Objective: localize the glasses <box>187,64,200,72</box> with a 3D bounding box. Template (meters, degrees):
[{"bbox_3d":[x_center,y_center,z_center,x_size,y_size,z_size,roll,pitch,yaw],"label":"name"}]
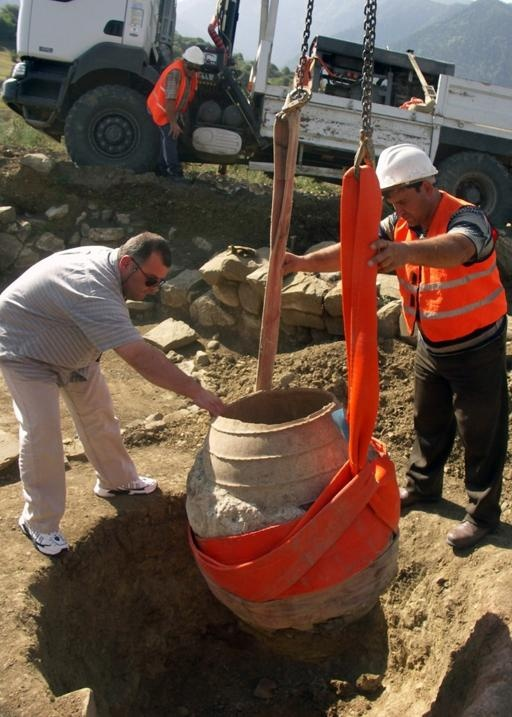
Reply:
[{"bbox_3d":[-0.645,-2.990,6.868,0.081,0.025,0.078,13,-14,-36],"label":"glasses"}]

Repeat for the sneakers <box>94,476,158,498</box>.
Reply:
[{"bbox_3d":[-0.742,0.724,3.886,0.365,0.141,0.123,-7,14,-13],"label":"sneakers"}]

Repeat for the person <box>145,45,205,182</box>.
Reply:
[{"bbox_3d":[-0.874,-2.616,7.065,0.564,1.349,0.813,4,16,-10],"label":"person"}]

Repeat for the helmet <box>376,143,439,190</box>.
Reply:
[{"bbox_3d":[0.676,-0.915,3.098,0.310,0.134,0.225,-14,29,-10],"label":"helmet"}]

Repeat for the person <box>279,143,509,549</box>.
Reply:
[{"bbox_3d":[0.867,-0.016,3.204,1.099,1.917,0.849,2,16,-17],"label":"person"}]

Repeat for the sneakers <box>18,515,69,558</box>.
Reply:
[{"bbox_3d":[-1.010,0.889,3.301,0.283,0.124,0.111,35,15,10],"label":"sneakers"}]

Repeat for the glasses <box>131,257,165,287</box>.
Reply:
[{"bbox_3d":[-0.521,-0.406,3.146,0.040,0.127,0.128,-38,-15,14],"label":"glasses"}]
